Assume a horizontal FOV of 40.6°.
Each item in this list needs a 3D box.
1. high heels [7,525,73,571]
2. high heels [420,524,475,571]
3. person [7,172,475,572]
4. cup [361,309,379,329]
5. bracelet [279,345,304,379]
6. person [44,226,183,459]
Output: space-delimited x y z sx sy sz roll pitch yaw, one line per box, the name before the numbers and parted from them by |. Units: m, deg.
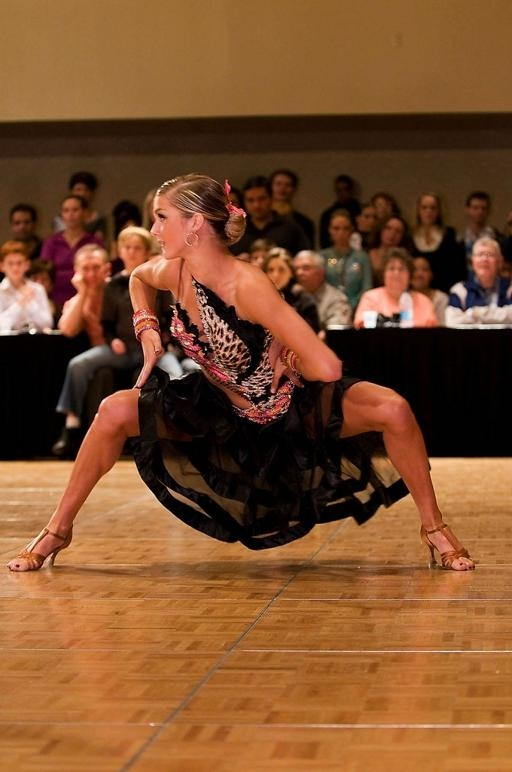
high heels | -0.490 0.371 1.663 0.068 0.074 0.188 26 21 25
high heels | 0.423 0.378 1.613 0.064 0.067 0.175 -8 3 -22
person | -0.036 -0.018 1.638 0.999 0.850 0.378 -3 1 14
cup | 0.727 -0.416 4.383 0.120 0.110 0.111 -1 -8 0
bracelet | 0.089 -0.057 1.599 0.025 0.046 0.065 -30 -21 0
person | -0.915 -0.352 4.563 1.039 1.432 0.965 -7 8 -31
